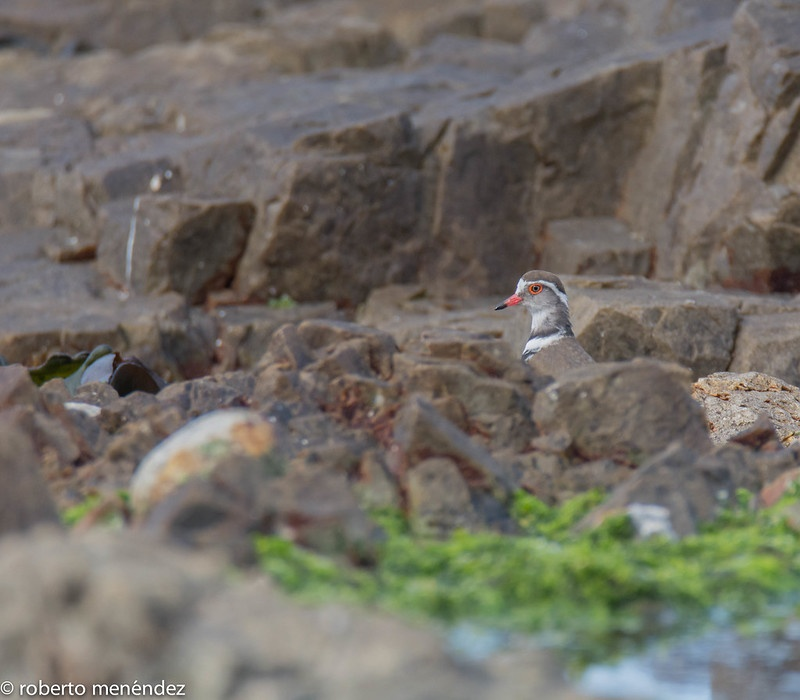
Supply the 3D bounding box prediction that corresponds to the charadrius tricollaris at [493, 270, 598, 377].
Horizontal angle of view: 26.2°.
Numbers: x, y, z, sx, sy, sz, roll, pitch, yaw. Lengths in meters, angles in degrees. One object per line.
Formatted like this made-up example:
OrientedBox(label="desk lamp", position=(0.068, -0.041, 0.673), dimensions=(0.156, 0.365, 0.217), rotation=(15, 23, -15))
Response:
OrientedBox(label="charadrius tricollaris", position=(0.819, -0.053, 8.996), dimensions=(0.578, 0.719, 0.282), rotation=(3, 9, 10))
